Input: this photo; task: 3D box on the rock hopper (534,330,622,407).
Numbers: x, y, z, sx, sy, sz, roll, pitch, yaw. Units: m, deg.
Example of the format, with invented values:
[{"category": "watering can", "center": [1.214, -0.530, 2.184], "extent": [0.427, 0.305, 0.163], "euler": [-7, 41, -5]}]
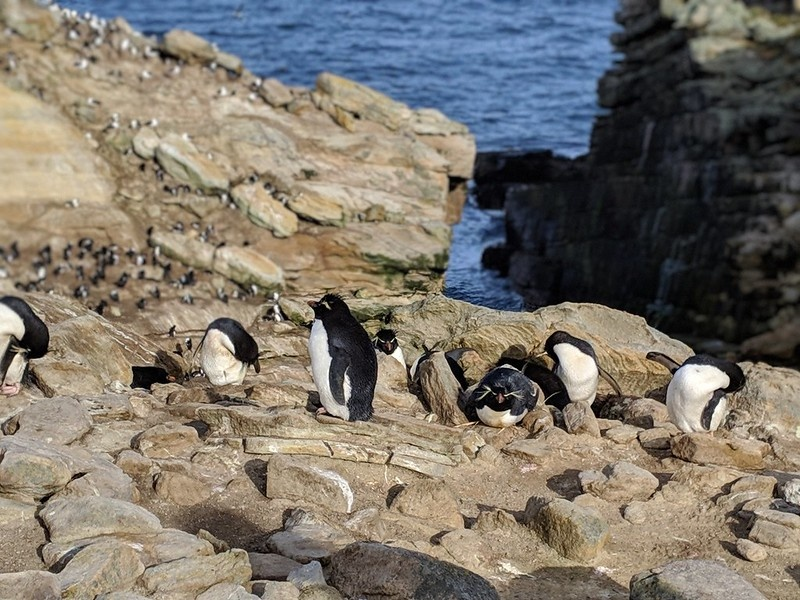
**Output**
[{"category": "rock hopper", "center": [1.874, 0.811, 13.002], "extent": [0.921, 0.890, 0.731], "euler": [-11, 14, -2]}]

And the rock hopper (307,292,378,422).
[{"category": "rock hopper", "center": [-0.575, 0.572, 11.711], "extent": [0.741, 1.178, 0.535], "euler": [7, 17, -1]}]

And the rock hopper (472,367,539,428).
[{"category": "rock hopper", "center": [1.028, 0.999, 12.311], "extent": [0.505, 0.452, 0.649], "euler": [-1, 57, 10]}]

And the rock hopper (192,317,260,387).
[{"category": "rock hopper", "center": [-1.826, 0.648, 13.064], "extent": [0.746, 0.713, 0.643], "euler": [-15, 57, -17]}]

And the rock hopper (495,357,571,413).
[{"category": "rock hopper", "center": [1.476, 0.883, 13.531], "extent": [0.322, 0.389, 0.973], "euler": [-10, 44, -18]}]

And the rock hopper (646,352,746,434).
[{"category": "rock hopper", "center": [2.961, 0.964, 12.255], "extent": [0.817, 0.513, 0.768], "euler": [-6, 36, -7]}]
